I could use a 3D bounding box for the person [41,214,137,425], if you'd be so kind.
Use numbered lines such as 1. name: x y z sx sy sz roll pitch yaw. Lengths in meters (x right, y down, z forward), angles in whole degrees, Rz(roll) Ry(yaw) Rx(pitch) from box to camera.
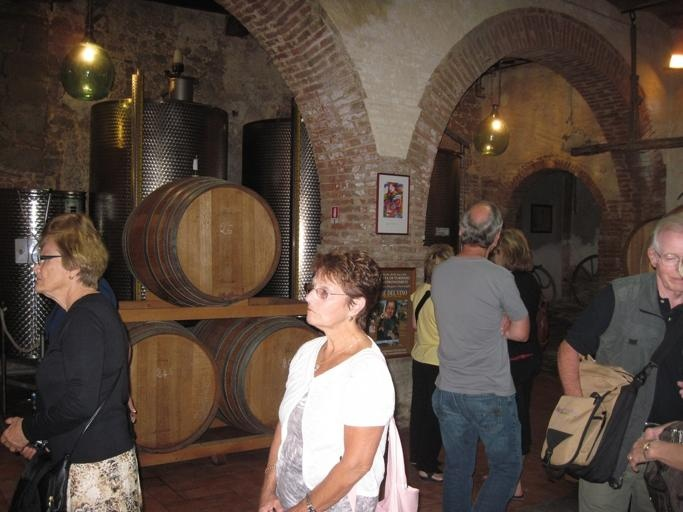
1. person: -1.419 0.389 3.231 0.459 1.197 0.422 3 13 -15

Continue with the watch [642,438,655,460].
1. watch: 1.454 0.915 2.842 0.055 0.078 0.068 7 1 33

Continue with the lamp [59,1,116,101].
1. lamp: -2.573 -2.112 6.050 0.484 0.938 0.417 1 1 32

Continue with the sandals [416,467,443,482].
1. sandals: 0.724 1.768 4.860 0.279 0.119 0.114 -2 -2 7

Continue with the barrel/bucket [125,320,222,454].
1. barrel/bucket: -1.367 1.010 4.852 0.789 0.885 0.797 3 -1 0

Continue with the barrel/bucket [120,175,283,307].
1. barrel/bucket: -1.215 -0.097 4.986 1.064 1.111 1.020 4 3 0
